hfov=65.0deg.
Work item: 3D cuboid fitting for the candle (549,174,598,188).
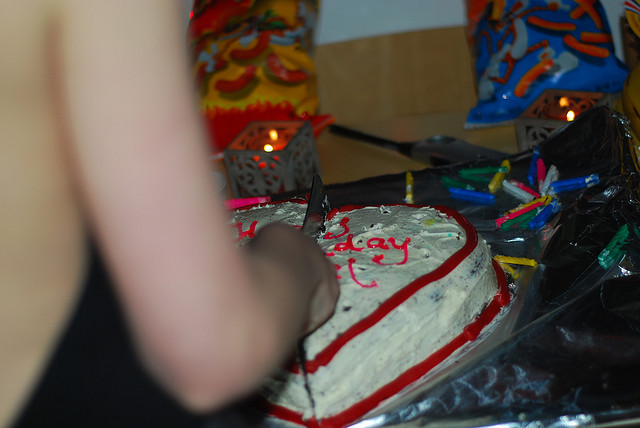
[{"bbox_3d":[0.737,-0.096,1.461,0.091,0.021,0.025,-14,49,1],"label":"candle"}]

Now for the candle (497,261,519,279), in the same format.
[{"bbox_3d":[0.429,0.128,1.160,0.018,0.005,0.060,-41,63,-18],"label":"candle"}]

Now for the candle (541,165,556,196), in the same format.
[{"bbox_3d":[0.679,-0.097,1.499,0.018,0.077,0.077,26,37,12],"label":"candle"}]

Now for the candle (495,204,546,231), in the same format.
[{"bbox_3d":[0.544,0.011,1.361,0.128,0.011,0.018,-28,79,-19],"label":"candle"}]

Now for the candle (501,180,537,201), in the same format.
[{"bbox_3d":[0.589,-0.066,1.515,0.116,0.026,0.024,34,16,32],"label":"candle"}]

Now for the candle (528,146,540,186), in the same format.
[{"bbox_3d":[0.689,-0.152,1.625,0.028,0.042,0.170,-6,42,24],"label":"candle"}]

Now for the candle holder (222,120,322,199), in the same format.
[{"bbox_3d":[-0.177,-0.184,2.059,0.373,0.406,0.282,-7,14,5],"label":"candle holder"}]
